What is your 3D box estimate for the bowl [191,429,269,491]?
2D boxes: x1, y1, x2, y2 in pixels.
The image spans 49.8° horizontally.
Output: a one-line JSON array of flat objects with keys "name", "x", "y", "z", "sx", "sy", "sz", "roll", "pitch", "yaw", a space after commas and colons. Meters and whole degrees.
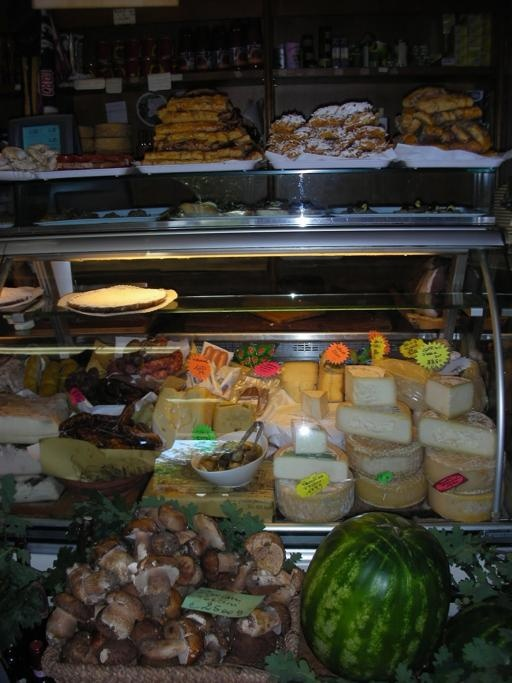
[{"name": "bowl", "x": -0.064, "y": 0.350, "z": 1.664, "sx": 0.194, "sy": 0.136, "sz": 0.199, "roll": -3, "pitch": 20, "yaw": 1}]

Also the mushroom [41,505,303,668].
[{"name": "mushroom", "x": -0.166, "y": 0.528, "z": 1.151, "sx": 0.440, "sy": 0.156, "sz": 0.315, "roll": 9, "pitch": 39, "yaw": 8}]

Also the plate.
[{"name": "plate", "x": -0.478, "y": -0.145, "z": 1.860, "sx": 0.205, "sy": 0.027, "sz": 0.202, "roll": -6, "pitch": 17, "yaw": -19}]

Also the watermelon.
[{"name": "watermelon", "x": 0.208, "y": 0.465, "z": 1.119, "sx": 0.308, "sy": 0.276, "sz": 0.268, "roll": -1, "pitch": 15, "yaw": 1}]
